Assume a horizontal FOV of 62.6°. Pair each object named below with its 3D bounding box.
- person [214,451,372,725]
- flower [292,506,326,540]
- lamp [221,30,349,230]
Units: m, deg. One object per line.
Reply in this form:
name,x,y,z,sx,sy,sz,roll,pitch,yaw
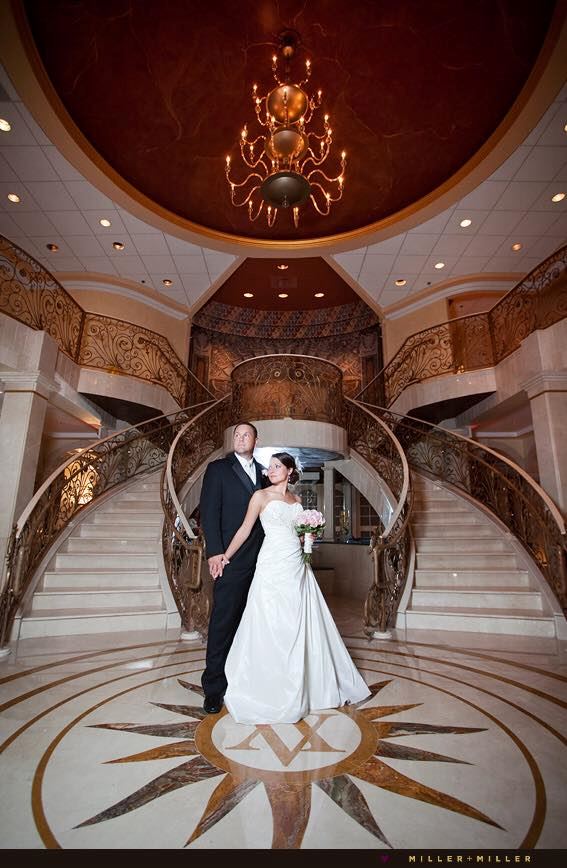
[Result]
person,0.008,0.968,2.674,0.781,1.585,0.407,5,-10,-42
flower,0.150,0.634,2.788,0.194,0.199,0.196,1,-3,9
lamp,0.030,-4.189,5.782,1.327,2.484,1.354,0,-6,7
